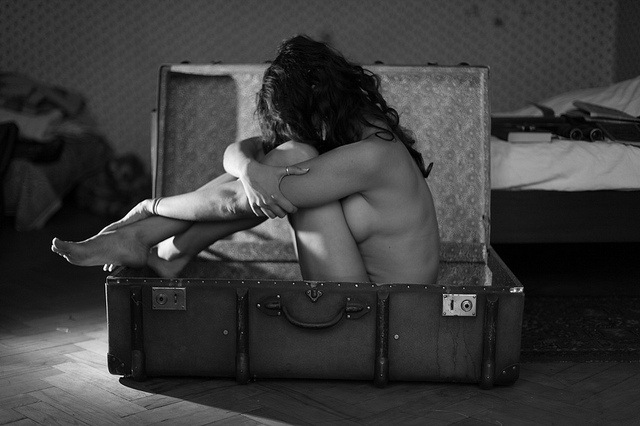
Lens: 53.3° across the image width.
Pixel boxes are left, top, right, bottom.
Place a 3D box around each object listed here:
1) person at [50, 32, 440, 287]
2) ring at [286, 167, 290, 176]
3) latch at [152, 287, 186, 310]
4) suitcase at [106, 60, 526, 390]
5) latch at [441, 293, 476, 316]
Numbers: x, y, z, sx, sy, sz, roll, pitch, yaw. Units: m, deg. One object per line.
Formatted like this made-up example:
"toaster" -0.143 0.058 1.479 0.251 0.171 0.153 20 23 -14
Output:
"person" -0.232 -0.145 2.302 1.356 0.911 0.550 2 14 -7
"ring" -0.107 -0.141 2.078 0.005 0.017 0.018 -3 -1 21
"latch" -0.504 0.287 2.127 0.091 0.081 0.032 1 1 1
"suitcase" -0.005 -0.012 2.441 1.446 1.199 0.868 1 8 5
"latch" 0.455 0.304 2.107 0.106 0.071 0.025 3 2 2
